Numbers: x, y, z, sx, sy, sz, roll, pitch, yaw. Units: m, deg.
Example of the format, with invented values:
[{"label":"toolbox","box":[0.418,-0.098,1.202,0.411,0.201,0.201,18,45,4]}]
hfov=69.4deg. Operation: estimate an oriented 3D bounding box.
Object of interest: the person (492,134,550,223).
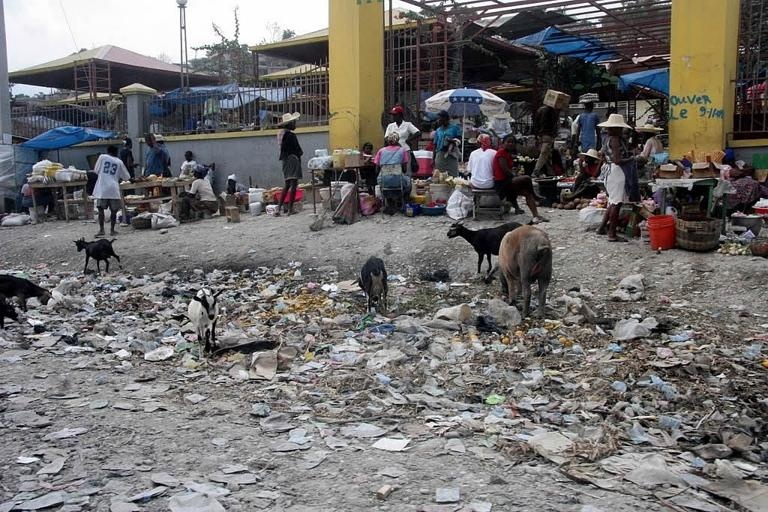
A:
[{"label":"person","box":[2.748,-1.593,11.274,0.978,1.701,0.784,1,10,20]}]

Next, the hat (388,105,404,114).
[{"label":"hat","box":[0.389,-3.626,13.653,0.264,0.173,0.368,7,8,41]}]

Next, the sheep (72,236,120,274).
[{"label":"sheep","box":[-5.958,-0.047,11.480,1.155,0.739,0.310,-4,-1,22]}]

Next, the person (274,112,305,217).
[{"label":"person","box":[-2.442,-2.380,14.171,0.683,2.576,1.460,-4,10,-7]}]

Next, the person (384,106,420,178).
[{"label":"person","box":[0.454,-2.586,13.738,0.998,2.060,0.872,2,16,14]}]

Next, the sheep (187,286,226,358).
[{"label":"sheep","box":[-2.400,0.877,7.500,0.472,0.777,1.279,-2,-4,-22]}]

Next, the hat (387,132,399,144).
[{"label":"hat","box":[0.219,-2.768,12.915,0.233,0.242,0.276,-12,10,11]}]

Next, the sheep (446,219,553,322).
[{"label":"sheep","box":[1.981,0.126,8.449,0.559,1.266,1.877,-3,9,-7]}]

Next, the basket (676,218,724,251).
[{"label":"basket","box":[5.203,-0.386,9.173,0.619,0.410,0.657,-1,12,6]}]

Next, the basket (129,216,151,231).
[{"label":"basket","box":[-6.227,-0.846,14.284,0.426,0.230,0.400,0,6,0]}]

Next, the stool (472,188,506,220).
[{"label":"stool","box":[2.212,-1.062,11.795,0.711,0.662,0.760,-1,12,-2]}]

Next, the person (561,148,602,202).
[{"label":"person","box":[4.482,-1.827,12.397,1.004,1.153,0.759,1,3,3]}]

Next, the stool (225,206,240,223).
[{"label":"stool","box":[-3.815,-1.047,13.994,0.292,0.463,0.521,-3,5,-43]}]

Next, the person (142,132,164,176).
[{"label":"person","box":[-6.799,-3.024,16.364,0.641,1.275,1.421,-6,10,-21]}]

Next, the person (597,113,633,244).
[{"label":"person","box":[4.102,-1.417,9.664,0.846,2.090,0.633,-3,7,20]}]

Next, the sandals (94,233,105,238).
[{"label":"sandals","box":[-6.978,-0.512,13.572,0.332,0.128,0.119,1,6,27]}]

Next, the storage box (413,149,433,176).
[{"label":"storage box","box":[1.065,-2.400,14.355,0.670,0.596,0.557,3,6,9]}]

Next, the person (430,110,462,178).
[{"label":"person","box":[1.518,-2.667,13.171,0.621,1.529,0.606,-1,10,7]}]

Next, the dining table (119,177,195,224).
[{"label":"dining table","box":[-6.383,-1.453,15.406,1.605,1.026,1.429,-4,3,-11]}]

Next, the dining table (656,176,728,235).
[{"label":"dining table","box":[5.414,-0.925,9.760,0.923,0.757,0.766,4,-1,37]}]

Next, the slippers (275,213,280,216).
[{"label":"slippers","box":[-2.682,-1.057,14.027,0.102,0.084,0.092,0,-3,8]}]

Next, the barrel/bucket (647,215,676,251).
[{"label":"barrel/bucket","box":[4.606,-0.391,9.208,0.393,0.559,0.281,-8,11,-29]}]

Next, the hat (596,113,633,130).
[{"label":"hat","box":[4.083,-2.320,9.653,0.520,0.150,0.505,-3,7,-43]}]

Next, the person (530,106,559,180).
[{"label":"person","box":[4.196,-2.983,13.959,0.830,2.004,0.685,2,3,13]}]

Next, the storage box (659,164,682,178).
[{"label":"storage box","box":[4.908,-1.494,9.500,0.286,0.174,0.281,7,26,35]}]

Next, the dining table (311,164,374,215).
[{"label":"dining table","box":[-1.071,-1.621,13.797,1.548,0.856,1.422,4,14,23]}]

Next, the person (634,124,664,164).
[{"label":"person","box":[5.965,-2.540,12.292,0.407,0.815,2.331,2,10,26]}]

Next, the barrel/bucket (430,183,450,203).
[{"label":"barrel/bucket","box":[1.292,-1.471,12.865,0.400,0.457,0.472,-10,12,-39]}]

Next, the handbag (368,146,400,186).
[{"label":"handbag","box":[0.110,-2.027,12.555,0.702,0.921,0.382,1,10,16]}]

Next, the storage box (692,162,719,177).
[{"label":"storage box","box":[5.452,-1.416,9.423,0.279,0.202,0.360,2,5,38]}]

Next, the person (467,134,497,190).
[{"label":"person","box":[2.053,-1.968,11.517,0.516,1.143,0.606,-1,10,5]}]

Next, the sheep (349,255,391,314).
[{"label":"sheep","box":[-0.084,0.431,8.866,0.605,0.816,1.536,-4,-4,-4]}]

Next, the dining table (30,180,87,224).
[{"label":"dining table","box":[-9.487,-1.659,16.521,1.457,1.253,1.358,6,20,14]}]
